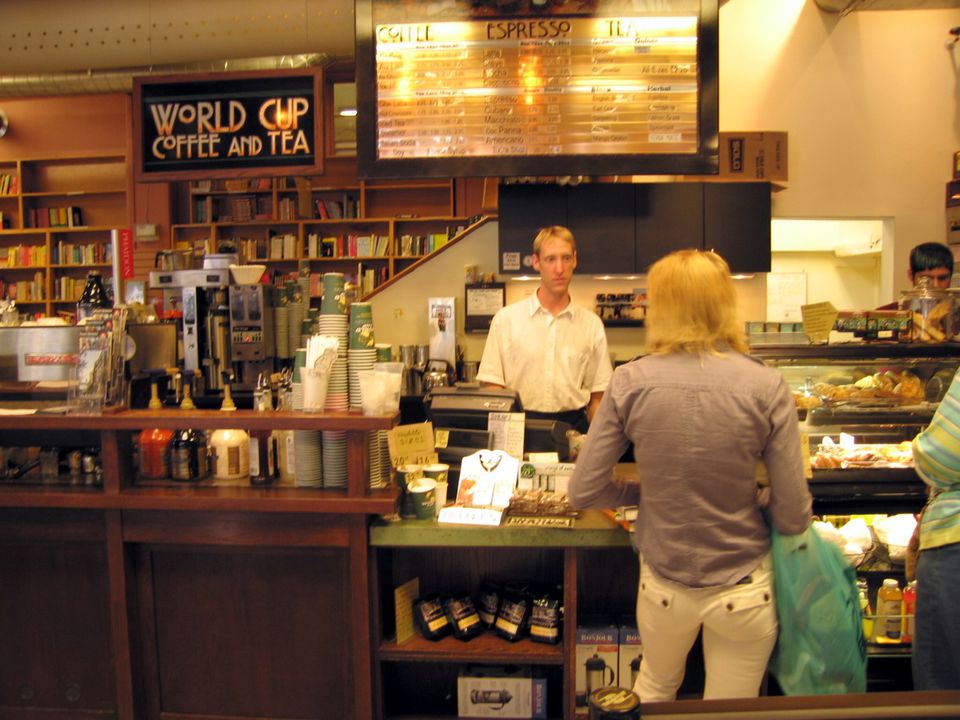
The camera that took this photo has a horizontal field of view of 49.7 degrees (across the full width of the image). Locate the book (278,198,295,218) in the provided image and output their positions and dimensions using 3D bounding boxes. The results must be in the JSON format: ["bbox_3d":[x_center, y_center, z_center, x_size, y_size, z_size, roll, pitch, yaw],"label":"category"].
[{"bbox_3d":[-1.923,-1.476,10.231,0.178,0.219,0.230,-1,5,-15],"label":"book"}]

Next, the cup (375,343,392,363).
[{"bbox_3d":[-0.479,-0.036,5.134,0.082,0.069,0.080,0,7,0],"label":"cup"}]

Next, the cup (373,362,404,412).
[{"bbox_3d":[-0.416,0.122,5.022,0.166,0.226,0.166,4,-5,0],"label":"cup"}]

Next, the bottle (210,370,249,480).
[{"bbox_3d":[-1.284,0.331,5.283,0.234,0.514,0.232,-1,5,0],"label":"bottle"}]

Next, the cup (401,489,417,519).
[{"bbox_3d":[-0.348,0.698,4.995,0.122,0.149,0.120,2,-2,0],"label":"cup"}]

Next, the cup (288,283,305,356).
[{"bbox_3d":[-1.173,-0.264,6.629,0.112,0.424,0.223,-2,1,-10],"label":"cup"}]

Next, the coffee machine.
[{"bbox_3d":[-1.602,-0.116,6.252,0.940,1.091,0.605,0,0,-4],"label":"coffee machine"}]

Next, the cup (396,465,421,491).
[{"bbox_3d":[-0.355,0.577,5.042,0.111,0.079,0.111,1,1,0],"label":"cup"}]

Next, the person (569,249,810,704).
[{"bbox_3d":[0.929,0.517,4.534,0.979,1.578,0.299,-2,1,16],"label":"person"}]

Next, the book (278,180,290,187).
[{"bbox_3d":[-1.922,-1.728,10.136,0.113,0.099,0.077,0,-2,2],"label":"book"}]

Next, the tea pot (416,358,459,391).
[{"bbox_3d":[-0.313,0.105,7.509,0.238,0.217,0.233,0,3,0],"label":"tea pot"}]

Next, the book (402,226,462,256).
[{"bbox_3d":[-0.505,-1.161,10.154,0.605,0.281,0.245,-2,1,-4],"label":"book"}]

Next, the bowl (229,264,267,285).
[{"bbox_3d":[-1.457,-0.530,6.477,0.204,0.128,0.275,-2,1,-4],"label":"bowl"}]

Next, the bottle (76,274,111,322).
[{"bbox_3d":[-2.183,-0.373,5.848,0.182,0.284,0.241,-2,1,-35],"label":"bottle"}]

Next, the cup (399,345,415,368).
[{"bbox_3d":[-0.542,-0.019,7.630,0.159,0.218,0.151,-1,3,0],"label":"cup"}]

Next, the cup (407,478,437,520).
[{"bbox_3d":[-0.275,0.664,4.955,0.169,0.160,0.172,0,0,0],"label":"cup"}]

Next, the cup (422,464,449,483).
[{"bbox_3d":[-0.211,0.551,5.051,0.094,0.067,0.095,-1,-3,0],"label":"cup"}]

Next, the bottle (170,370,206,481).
[{"bbox_3d":[-1.485,0.364,5.250,0.200,0.456,0.200,1,4,0],"label":"bottle"}]

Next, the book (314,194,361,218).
[{"bbox_3d":[-1.411,-1.496,10.283,0.367,0.153,0.266,0,3,0],"label":"book"}]

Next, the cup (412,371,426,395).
[{"bbox_3d":[-0.449,0.174,7.514,0.109,0.158,0.174,-1,-2,15],"label":"cup"}]
